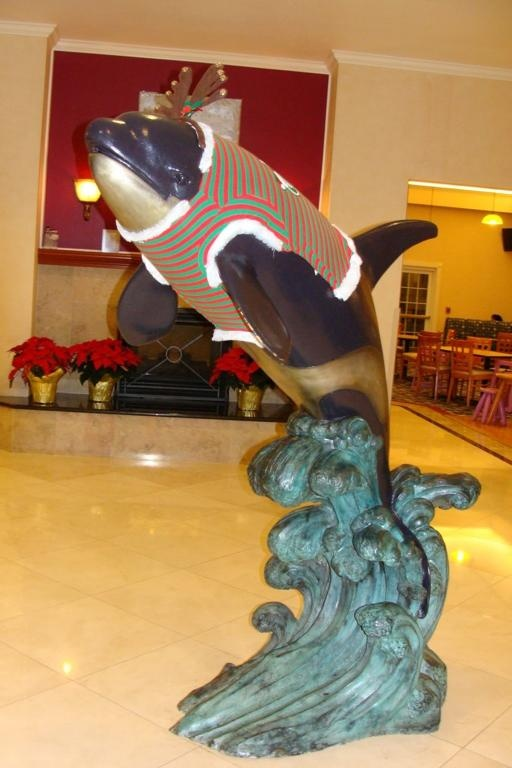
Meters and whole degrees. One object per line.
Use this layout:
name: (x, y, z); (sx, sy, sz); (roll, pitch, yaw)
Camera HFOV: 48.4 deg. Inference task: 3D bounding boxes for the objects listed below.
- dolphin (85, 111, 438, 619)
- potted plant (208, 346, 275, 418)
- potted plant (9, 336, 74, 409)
dolphin: (0.042, -0.153, 1.207); (0.936, 0.534, 0.399); (44, -25, -28)
potted plant: (-0.124, -0.046, 4.773); (0.487, 0.573, 0.425); (-4, 14, -23)
potted plant: (-1.707, -0.159, 4.530); (0.407, 0.607, 0.368); (1, 17, -11)
